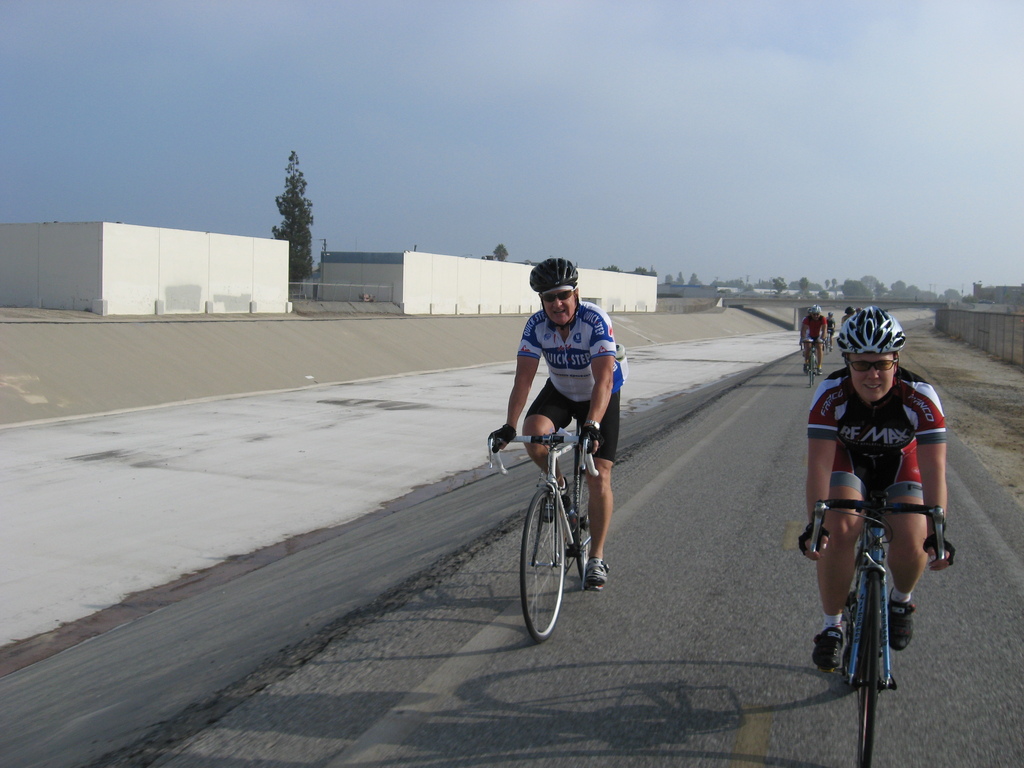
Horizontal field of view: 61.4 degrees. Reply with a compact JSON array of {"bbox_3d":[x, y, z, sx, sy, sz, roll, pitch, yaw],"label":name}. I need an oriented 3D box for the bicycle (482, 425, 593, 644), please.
[{"bbox_3d":[0.252,0.982,6.345,0.711,1.455,1.681,0,7,5],"label":"bicycle"}]

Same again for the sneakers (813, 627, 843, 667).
[{"bbox_3d":[1.853,1.546,5.064,0.102,0.142,0.303,-2,0,23],"label":"sneakers"}]

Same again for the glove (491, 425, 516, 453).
[{"bbox_3d":[-0.067,0.384,6.182,0.157,0.239,0.463,0,8,5],"label":"glove"}]

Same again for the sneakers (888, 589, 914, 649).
[{"bbox_3d":[2.288,1.399,5.085,0.121,0.400,0.144,1,6,25],"label":"sneakers"}]

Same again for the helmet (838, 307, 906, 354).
[{"bbox_3d":[2.017,-0.298,4.865,0.334,0.264,0.383,2,8,22],"label":"helmet"}]

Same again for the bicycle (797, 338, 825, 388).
[{"bbox_3d":[8.410,-0.642,23.823,0.752,1.083,1.691,-2,4,13],"label":"bicycle"}]

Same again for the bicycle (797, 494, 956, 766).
[{"bbox_3d":[1.962,1.291,4.691,0.727,1.436,1.083,3,8,29],"label":"bicycle"}]

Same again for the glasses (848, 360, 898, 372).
[{"bbox_3d":[2.036,-0.109,4.848,0.277,0.067,0.112,-1,8,-6],"label":"glasses"}]

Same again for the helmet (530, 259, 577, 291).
[{"bbox_3d":[0.308,-0.785,6.284,0.323,0.253,0.441,-1,8,0],"label":"helmet"}]

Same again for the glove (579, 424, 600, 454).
[{"bbox_3d":[0.556,0.383,6.070,0.124,0.176,0.178,1,0,12],"label":"glove"}]

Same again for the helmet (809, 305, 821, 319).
[{"bbox_3d":[7.895,-1.875,22.342,0.247,0.366,0.371,-1,-7,6],"label":"helmet"}]
